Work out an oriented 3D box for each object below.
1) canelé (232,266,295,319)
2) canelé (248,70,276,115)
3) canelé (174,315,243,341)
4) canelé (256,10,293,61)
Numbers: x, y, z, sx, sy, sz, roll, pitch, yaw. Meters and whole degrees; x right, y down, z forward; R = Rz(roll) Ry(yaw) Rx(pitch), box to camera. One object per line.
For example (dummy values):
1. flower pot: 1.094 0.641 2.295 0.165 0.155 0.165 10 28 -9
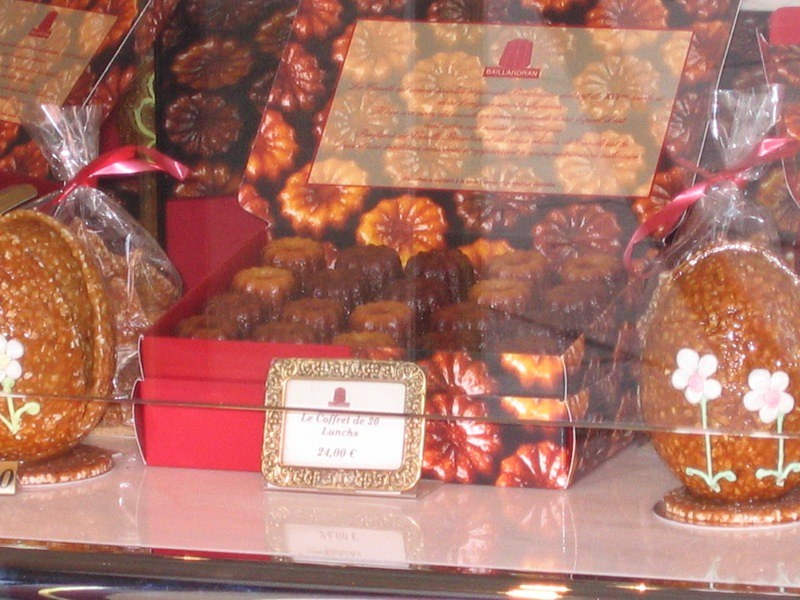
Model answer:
1. canelé: -0.168 -0.014 1.109 0.063 0.042 0.063 6 14 24
2. canelé: -0.182 -0.270 1.173 0.013 0.047 0.048 8 8 -39
3. canelé: -0.229 0.033 1.068 0.078 0.030 0.032 -1 0 27
4. canelé: -0.163 -0.342 1.157 0.056 0.055 0.020 -10 -35 31
